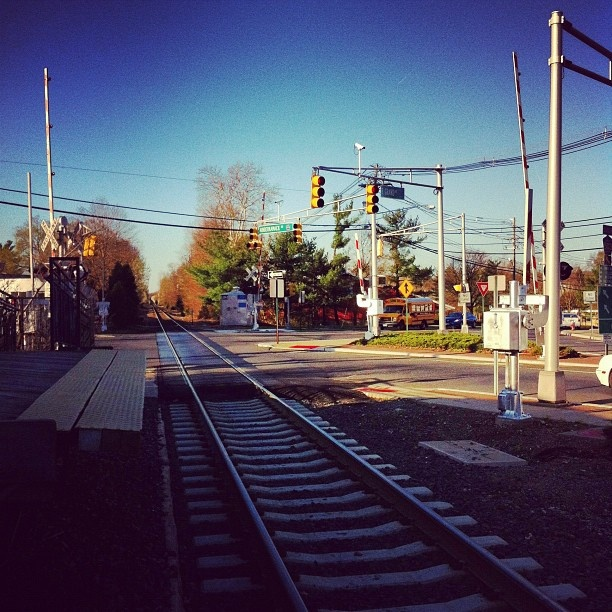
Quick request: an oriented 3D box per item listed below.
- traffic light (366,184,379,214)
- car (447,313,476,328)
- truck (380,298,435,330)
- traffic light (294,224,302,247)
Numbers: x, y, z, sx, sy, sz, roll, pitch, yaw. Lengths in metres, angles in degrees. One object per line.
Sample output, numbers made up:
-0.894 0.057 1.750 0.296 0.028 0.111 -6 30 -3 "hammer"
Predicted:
2.218 -3.646 23.108 0.431 0.987 1.405 0 1 6 "traffic light"
13.339 1.235 59.158 1.573 1.442 3.488 -7 -9 40 "car"
9.620 0.593 60.444 3.336 2.641 11.261 0 1 32 "truck"
-0.354 -3.204 30.290 0.307 0.844 0.838 0 1 -6 "traffic light"
